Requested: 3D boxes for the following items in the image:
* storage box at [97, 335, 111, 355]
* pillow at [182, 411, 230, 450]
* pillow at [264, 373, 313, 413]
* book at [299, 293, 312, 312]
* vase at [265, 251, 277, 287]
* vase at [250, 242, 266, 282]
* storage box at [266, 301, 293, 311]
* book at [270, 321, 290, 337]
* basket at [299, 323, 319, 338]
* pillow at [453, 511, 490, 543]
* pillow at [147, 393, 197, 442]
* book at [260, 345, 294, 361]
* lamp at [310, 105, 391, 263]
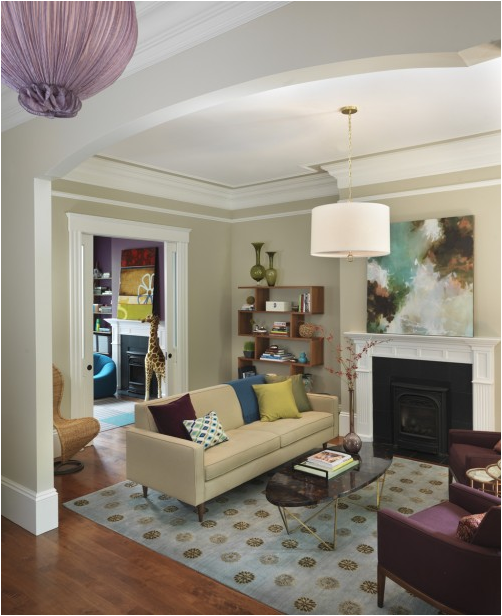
[{"bbox_3d":[-2.407,0.592,8.212,0.327,0.281,0.165,4,7,35],"label":"storage box"},{"bbox_3d":[-0.354,0.953,3.869,0.101,0.214,0.337,-35,-14,19],"label":"pillow"},{"bbox_3d":[0.376,0.882,5.123,0.421,0.374,0.160,2,-24,-37],"label":"pillow"},{"bbox_3d":[0.690,-0.051,6.158,0.197,0.306,0.335,1,-2,7],"label":"book"},{"bbox_3d":[0.253,-0.523,6.639,0.153,0.472,0.244,-1,2,2],"label":"vase"},{"bbox_3d":[0.080,-0.619,6.730,0.207,0.556,0.338,-1,2,-1],"label":"vase"},{"bbox_3d":[0.320,-0.021,6.468,0.357,0.133,0.249,0,2,18],"label":"storage box"},{"bbox_3d":[0.369,0.262,6.484,0.193,0.174,0.331,-1,2,-11],"label":"book"},{"bbox_3d":[0.704,0.278,6.203,0.204,0.164,0.199,-2,2,-35],"label":"basket"},{"bbox_3d":[0.964,0.952,2.211,0.158,0.061,0.117,-8,-8,35],"label":"pillow"},{"bbox_3d":[-0.611,0.853,3.881,0.109,0.226,0.293,-7,2,42],"label":"pillow"},{"bbox_3d":[0.339,0.592,6.494,0.296,0.097,0.236,0,-1,41],"label":"book"},{"bbox_3d":[0.804,-0.959,4.024,0.546,1.134,1.464,0,2,13],"label":"lamp"}]
